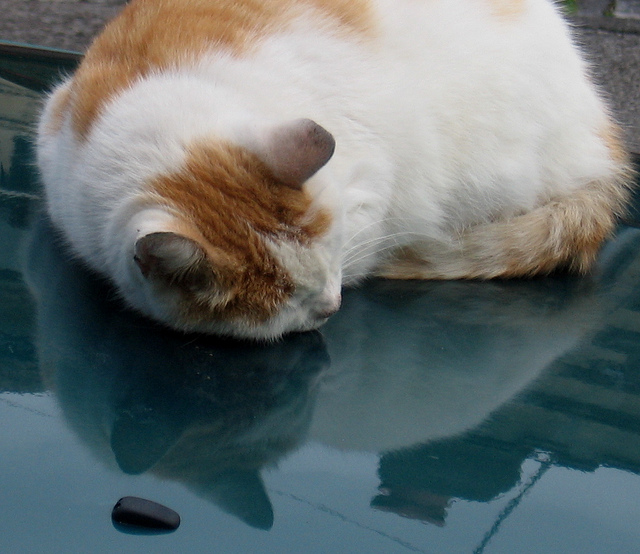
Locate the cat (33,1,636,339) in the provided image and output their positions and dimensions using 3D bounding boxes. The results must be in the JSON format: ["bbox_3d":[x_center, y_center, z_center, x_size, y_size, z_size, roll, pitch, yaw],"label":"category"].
[{"bbox_3d":[0.061,-0.364,2.104,1.070,0.408,1.230,26,42,29],"label":"cat"}]
